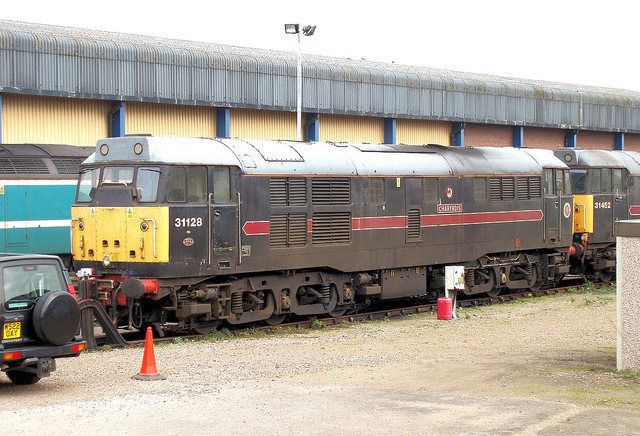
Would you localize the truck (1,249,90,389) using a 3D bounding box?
[{"bbox_3d":[-5.464,1.887,14.597,1.441,1.740,2.656,-2,6,-37],"label":"truck"}]

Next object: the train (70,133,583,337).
[{"bbox_3d":[1.872,0.305,24.137,18.886,5.202,2.871,-2,3,-35],"label":"train"}]

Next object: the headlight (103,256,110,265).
[{"bbox_3d":[-5.429,1.092,19.074,0.180,0.179,0.067,24,18,23],"label":"headlight"}]

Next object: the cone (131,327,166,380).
[{"bbox_3d":[-3.536,2.793,15.551,0.570,1.030,0.461,1,3,33],"label":"cone"}]
